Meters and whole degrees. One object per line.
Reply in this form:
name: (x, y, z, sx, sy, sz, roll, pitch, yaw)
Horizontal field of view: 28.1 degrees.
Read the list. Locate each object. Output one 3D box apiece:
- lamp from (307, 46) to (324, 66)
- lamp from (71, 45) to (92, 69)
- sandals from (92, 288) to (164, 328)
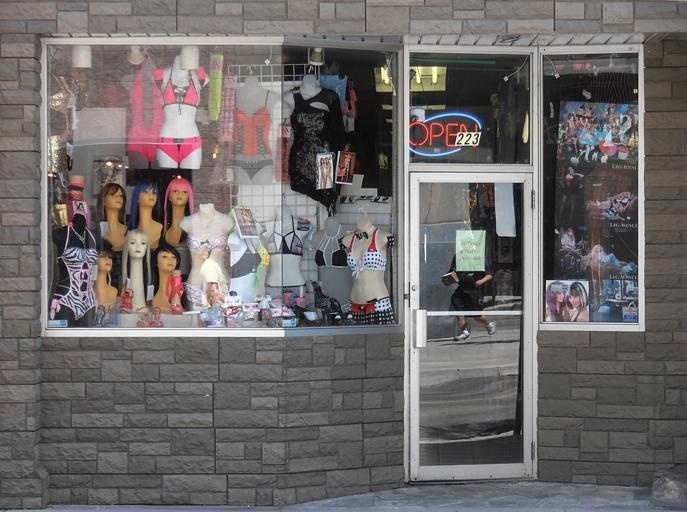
lamp: (-0.217, -1.578, 10.889, 0.124, 0.135, 0.070, 0, -1, -10)
lamp: (-2.072, -1.573, 10.859, 0.177, 0.182, 0.170, -1, 3, -13)
sandals: (-1.707, 0.416, 10.901, 0.515, 0.281, 0.155, 0, -1, -12)
